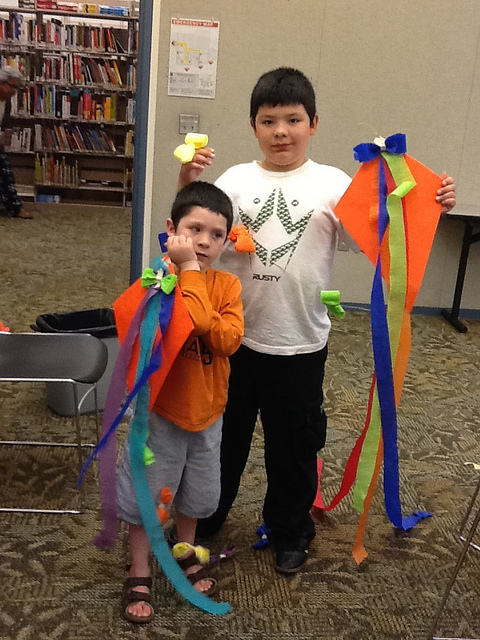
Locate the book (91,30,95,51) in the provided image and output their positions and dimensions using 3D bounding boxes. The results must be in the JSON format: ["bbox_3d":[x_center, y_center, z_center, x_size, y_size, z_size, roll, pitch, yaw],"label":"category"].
[{"bbox_3d":[-1.918,-3.642,7.028,0.043,0.232,0.034,0,13,-20],"label":"book"}]

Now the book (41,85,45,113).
[{"bbox_3d":[-2.608,-2.926,7.121,0.056,0.341,0.044,3,13,-4],"label":"book"}]

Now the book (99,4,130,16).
[{"bbox_3d":[-1.643,-4.072,7.066,0.388,0.151,0.131,2,13,-12],"label":"book"}]

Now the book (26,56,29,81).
[{"bbox_3d":[-2.785,-3.305,7.055,0.034,0.295,0.064,-1,13,-21],"label":"book"}]

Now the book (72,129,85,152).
[{"bbox_3d":[-2.204,-2.448,7.318,0.069,0.334,0.080,-21,21,16],"label":"book"}]

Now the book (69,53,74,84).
[{"bbox_3d":[-2.213,-3.299,7.078,0.059,0.371,0.069,-1,14,-24],"label":"book"}]

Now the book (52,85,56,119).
[{"bbox_3d":[-2.463,-2.896,7.134,0.045,0.420,0.055,-2,14,-26],"label":"book"}]

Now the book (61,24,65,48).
[{"bbox_3d":[-2.290,-3.669,6.961,0.040,0.279,0.041,-2,14,-26],"label":"book"}]

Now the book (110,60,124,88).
[{"bbox_3d":[-1.635,-3.293,7.233,0.097,0.422,0.073,-24,10,-19],"label":"book"}]

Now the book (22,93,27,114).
[{"bbox_3d":[-2.839,-2.853,7.099,0.058,0.252,0.096,-1,13,-21],"label":"book"}]

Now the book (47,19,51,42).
[{"bbox_3d":[-2.450,-3.707,6.910,0.039,0.256,0.065,0,13,-19],"label":"book"}]

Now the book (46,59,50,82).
[{"bbox_3d":[-2.519,-3.279,7.047,0.049,0.200,0.202,0,10,-19],"label":"book"}]

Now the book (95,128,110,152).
[{"bbox_3d":[-1.867,-2.435,7.434,0.083,0.404,0.097,-33,18,-10],"label":"book"}]

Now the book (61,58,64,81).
[{"bbox_3d":[-2.329,-3.291,7.069,0.032,0.280,0.021,1,13,-15],"label":"book"}]

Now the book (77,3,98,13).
[{"bbox_3d":[-1.979,-4.070,7.013,0.192,0.137,0.046,1,10,-5],"label":"book"}]

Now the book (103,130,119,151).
[{"bbox_3d":[-1.778,-2.477,7.428,0.058,0.245,0.240,-14,17,18],"label":"book"}]

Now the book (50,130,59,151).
[{"bbox_3d":[-2.502,-2.438,7.309,0.070,0.267,0.063,3,24,27],"label":"book"}]

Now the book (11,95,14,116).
[{"bbox_3d":[-2.986,-2.797,7.064,0.034,0.211,0.084,-1,14,-23],"label":"book"}]

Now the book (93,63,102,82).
[{"bbox_3d":[-1.880,-3.283,7.154,0.107,0.223,0.021,7,13,11],"label":"book"}]

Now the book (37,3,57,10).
[{"bbox_3d":[-2.496,-4.062,6.973,0.239,0.073,0.051,0,13,-17],"label":"book"}]

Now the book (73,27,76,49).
[{"bbox_3d":[-2.144,-3.644,6.973,0.037,0.247,0.022,4,12,-1],"label":"book"}]

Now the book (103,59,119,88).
[{"bbox_3d":[-1.718,-3.291,7.182,0.233,0.356,0.050,9,13,20],"label":"book"}]

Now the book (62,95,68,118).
[{"bbox_3d":[-2.329,-2.846,7.172,0.064,0.285,0.024,0,13,-19],"label":"book"}]

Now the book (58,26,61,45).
[{"bbox_3d":[-2.329,-3.666,6.948,0.033,0.201,0.012,4,13,-3],"label":"book"}]

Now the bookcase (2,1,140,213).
[{"bbox_3d":[-2.240,-2.856,6.953,1.758,3.139,0.440,-2,21,-13],"label":"bookcase"}]

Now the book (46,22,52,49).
[{"bbox_3d":[-2.445,-3.658,6.917,0.051,0.295,0.042,5,12,2],"label":"book"}]

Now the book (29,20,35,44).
[{"bbox_3d":[-2.665,-3.693,6.907,0.054,0.275,0.043,6,13,6],"label":"book"}]

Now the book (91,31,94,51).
[{"bbox_3d":[-1.921,-3.645,7.026,0.035,0.222,0.032,-1,14,-22],"label":"book"}]

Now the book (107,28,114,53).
[{"bbox_3d":[-1.694,-3.664,7.068,0.085,0.262,0.040,1,13,-15],"label":"book"}]

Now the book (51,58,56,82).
[{"bbox_3d":[-2.447,-3.289,7.060,0.040,0.293,0.225,-1,17,-13],"label":"book"}]

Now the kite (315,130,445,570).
[{"bbox_3d":[0.359,0.090,1.327,0.349,1.042,0.162,-4,15,-34],"label":"kite"}]

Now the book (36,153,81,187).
[{"bbox_3d":[-2.497,-2.030,7.330,0.439,0.399,0.183,3,16,-6],"label":"book"}]

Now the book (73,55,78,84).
[{"bbox_3d":[-2.161,-3.290,7.080,0.057,0.344,0.039,3,13,-7],"label":"book"}]

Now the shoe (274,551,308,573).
[{"bbox_3d":[0.139,0.654,1.448,0.087,0.036,0.040,4,5,-22],"label":"shoe"}]

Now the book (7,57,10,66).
[{"bbox_3d":[-3.002,-3.353,6.978,0.024,0.100,0.049,-1,14,-22],"label":"book"}]

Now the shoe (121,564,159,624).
[{"bbox_3d":[-0.243,0.649,1.314,0.079,0.064,0.217,9,2,-13],"label":"shoe"}]

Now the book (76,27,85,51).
[{"bbox_3d":[-2.064,-3.650,6.987,0.053,0.222,0.223,-2,8,-43],"label":"book"}]

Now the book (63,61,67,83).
[{"bbox_3d":[-2.299,-3.263,7.079,0.048,0.268,0.041,0,13,-17],"label":"book"}]

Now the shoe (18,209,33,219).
[{"bbox_3d":[-2.602,-1.291,6.570,0.160,0.106,0.148,8,13,17],"label":"shoe"}]

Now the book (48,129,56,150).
[{"bbox_3d":[-2.537,-2.435,7.238,0.042,0.253,0.035,-19,4,-19],"label":"book"}]

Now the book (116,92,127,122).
[{"bbox_3d":[-1.622,-2.940,7.380,0.155,0.275,0.285,2,20,-3],"label":"book"}]

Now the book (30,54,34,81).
[{"bbox_3d":[-2.742,-3.326,7.093,0.050,0.320,0.083,0,13,-20],"label":"book"}]
